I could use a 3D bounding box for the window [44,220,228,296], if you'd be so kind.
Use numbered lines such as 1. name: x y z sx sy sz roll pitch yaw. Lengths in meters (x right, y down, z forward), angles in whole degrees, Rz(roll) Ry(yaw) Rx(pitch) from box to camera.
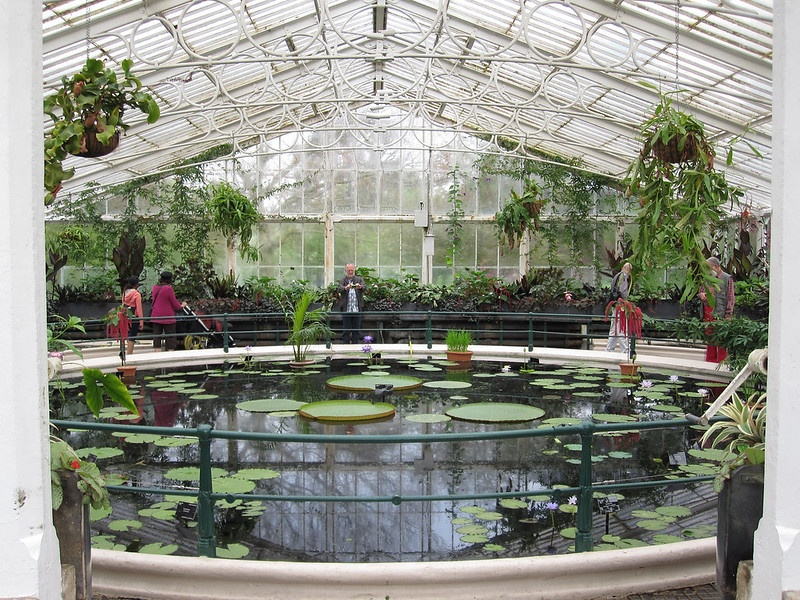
1. window: -5.312 -0.941 17.288 3.738 1.971 5.147 0 -2 -25

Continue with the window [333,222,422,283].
1. window: -0.595 -1.129 18.999 1.399 1.095 0.065 0 4 0

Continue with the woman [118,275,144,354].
1. woman: -3.728 0.196 11.569 0.265 1.105 2.754 0 -2 -18

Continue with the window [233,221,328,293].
1. window: -2.683 -1.036 18.764 1.522 1.241 0.066 1 3 0

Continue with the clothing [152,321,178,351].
1. clothing: -3.487 0.540 12.298 0.379 0.302 0.848 8 -11 -14

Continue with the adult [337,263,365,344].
1. adult: -0.740 0.050 12.712 0.412 1.238 0.833 0 -2 -4

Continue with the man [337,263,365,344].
1. man: -0.740 0.050 12.709 0.412 1.238 0.783 0 -2 -4

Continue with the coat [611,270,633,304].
1. coat: 3.192 -0.194 11.993 0.229 0.446 0.369 20 -23 -11

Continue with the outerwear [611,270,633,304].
1. outerwear: 3.192 -0.194 11.993 0.229 0.446 0.369 20 -23 -11
